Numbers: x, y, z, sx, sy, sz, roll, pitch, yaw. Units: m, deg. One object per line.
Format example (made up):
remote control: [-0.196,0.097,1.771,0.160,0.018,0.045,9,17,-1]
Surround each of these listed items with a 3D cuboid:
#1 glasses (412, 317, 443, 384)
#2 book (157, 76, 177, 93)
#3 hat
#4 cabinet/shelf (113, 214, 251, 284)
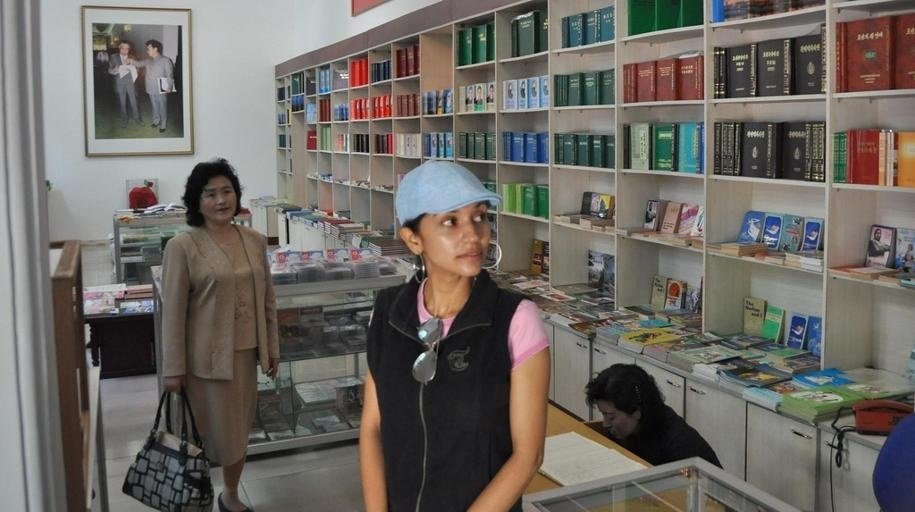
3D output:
glasses: [-0.110,0.398,2.837,0.133,0.255,0.066,3,-17,30]
book: [-6.396,-3.771,14.826,0.406,0.356,0.141,-3,4,-33]
hat: [-0.122,-0.302,2.990,0.485,0.240,0.355,-5,5,25]
cabinet/shelf: [-4.028,-0.222,9.742,2.035,1.350,1.048,1,8,5]
